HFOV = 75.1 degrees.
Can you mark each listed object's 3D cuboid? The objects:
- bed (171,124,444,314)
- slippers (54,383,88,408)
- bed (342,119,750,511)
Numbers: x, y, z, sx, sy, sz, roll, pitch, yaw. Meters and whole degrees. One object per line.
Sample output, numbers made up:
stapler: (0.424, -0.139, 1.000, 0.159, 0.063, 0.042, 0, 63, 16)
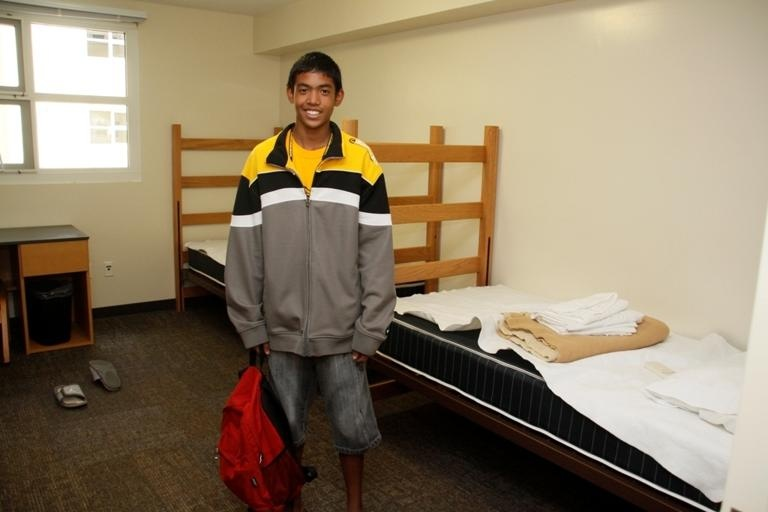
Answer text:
bed: (-0.754, -0.371, 4.836, 1.680, 1.935, 2.620, -5, 9, -35)
slippers: (-2.205, 0.981, 3.504, 0.177, 0.085, 0.300, -12, 16, -38)
bed: (0.897, 0.141, 3.208, 1.275, 1.593, 2.367, -5, 11, -27)
